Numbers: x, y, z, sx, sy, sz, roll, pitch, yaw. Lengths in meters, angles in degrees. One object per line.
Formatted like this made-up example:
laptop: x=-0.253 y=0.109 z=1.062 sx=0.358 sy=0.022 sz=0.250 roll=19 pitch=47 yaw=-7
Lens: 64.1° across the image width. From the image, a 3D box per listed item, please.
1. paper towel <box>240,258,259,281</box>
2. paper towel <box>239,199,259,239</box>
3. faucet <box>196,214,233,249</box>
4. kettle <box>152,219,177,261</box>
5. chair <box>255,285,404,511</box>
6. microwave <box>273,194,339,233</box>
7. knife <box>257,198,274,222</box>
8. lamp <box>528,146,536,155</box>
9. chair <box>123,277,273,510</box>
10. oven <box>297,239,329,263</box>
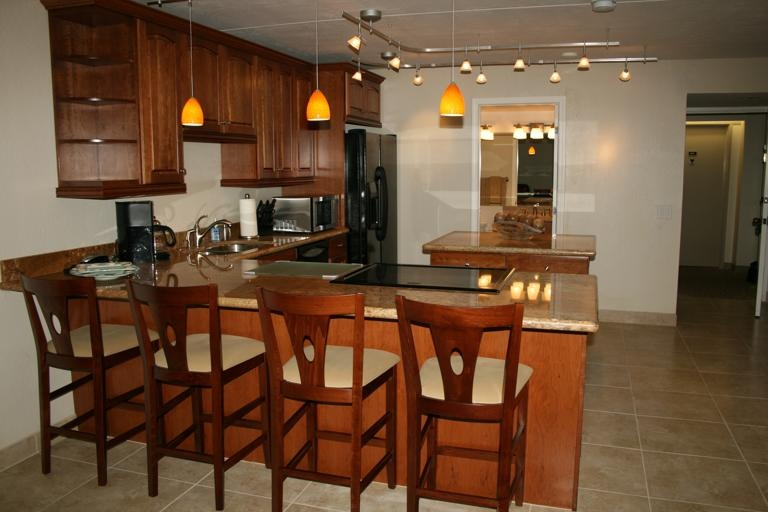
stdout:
paper towel: x=-1.055 y=0.095 z=4.757 sx=0.163 sy=0.178 sz=0.162 roll=4 pitch=16 yaw=9
paper towel: x=-1.436 y=-0.414 z=6.475 sx=0.184 sy=0.411 sz=0.295 roll=-3 pitch=10 yaw=-13
faucet: x=-1.728 y=-0.257 z=6.059 sx=0.137 sy=0.281 sz=0.465 roll=6 pitch=12 yaw=38
kettle: x=-1.951 y=-0.149 z=5.475 sx=0.335 sy=0.328 sz=0.204 roll=7 pitch=9 yaw=43
chair: x=-0.347 y=0.885 z=3.922 sx=0.883 sy=1.482 sz=0.644 roll=0 pitch=10 yaw=4
microwave: x=-0.883 y=-0.500 z=6.999 sx=0.502 sy=0.434 sz=0.751 roll=5 pitch=9 yaw=19
knife: x=-1.321 y=-0.508 z=6.790 sx=0.219 sy=0.224 sz=0.073 roll=0 pitch=1 yaw=-15
lamp: x=1.844 y=-1.328 z=7.628 sx=0.095 sy=0.102 sz=0.028 roll=0 pitch=4 yaw=18
chair: x=-1.227 y=0.857 z=4.129 sx=0.906 sy=1.495 sz=0.602 roll=1 pitch=10 yaw=10
oven: x=-0.750 y=-0.052 z=6.503 sx=0.209 sy=0.214 sz=0.313 roll=6 pitch=15 yaw=25
